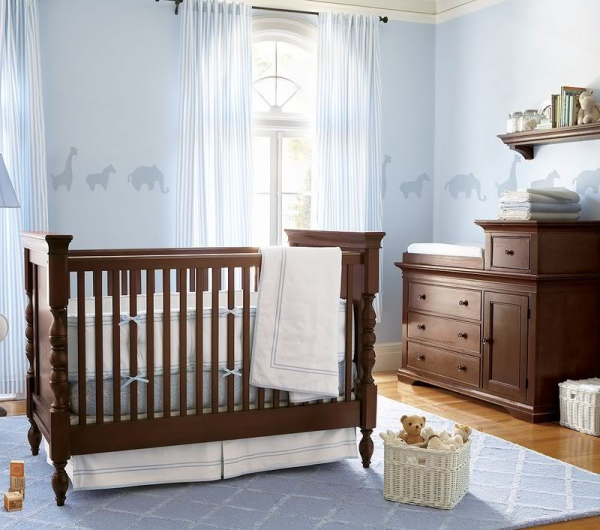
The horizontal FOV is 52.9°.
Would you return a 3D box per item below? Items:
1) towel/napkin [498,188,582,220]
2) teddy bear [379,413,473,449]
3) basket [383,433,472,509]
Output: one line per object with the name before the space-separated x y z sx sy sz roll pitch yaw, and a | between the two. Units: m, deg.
towel/napkin | 1.398 -0.339 3.394 0.474 0.188 0.262 0 3 -3
teddy bear | 0.489 0.656 2.312 0.169 0.087 0.199 2 -1 -42
basket | 0.483 0.729 2.279 0.263 0.236 0.271 0 -1 41
